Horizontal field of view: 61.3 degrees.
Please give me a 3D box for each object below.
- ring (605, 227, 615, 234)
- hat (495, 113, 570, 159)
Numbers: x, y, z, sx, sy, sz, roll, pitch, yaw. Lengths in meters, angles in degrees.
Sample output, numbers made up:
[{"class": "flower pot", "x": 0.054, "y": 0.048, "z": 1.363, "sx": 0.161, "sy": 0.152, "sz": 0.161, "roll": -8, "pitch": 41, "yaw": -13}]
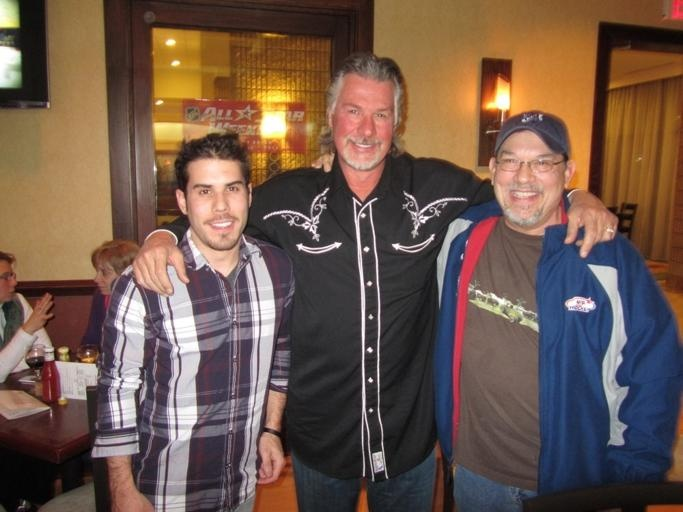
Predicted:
[{"class": "ring", "x": 1.104, "y": -0.107, "z": 2.380, "sx": 0.045, "sy": 0.030, "sz": 0.012, "roll": -4, "pitch": 10, "yaw": -23}, {"class": "hat", "x": 0.836, "y": -0.523, "z": 2.631, "sx": 0.284, "sy": 0.217, "sz": 0.477, "roll": 5, "pitch": 4, "yaw": 18}]
